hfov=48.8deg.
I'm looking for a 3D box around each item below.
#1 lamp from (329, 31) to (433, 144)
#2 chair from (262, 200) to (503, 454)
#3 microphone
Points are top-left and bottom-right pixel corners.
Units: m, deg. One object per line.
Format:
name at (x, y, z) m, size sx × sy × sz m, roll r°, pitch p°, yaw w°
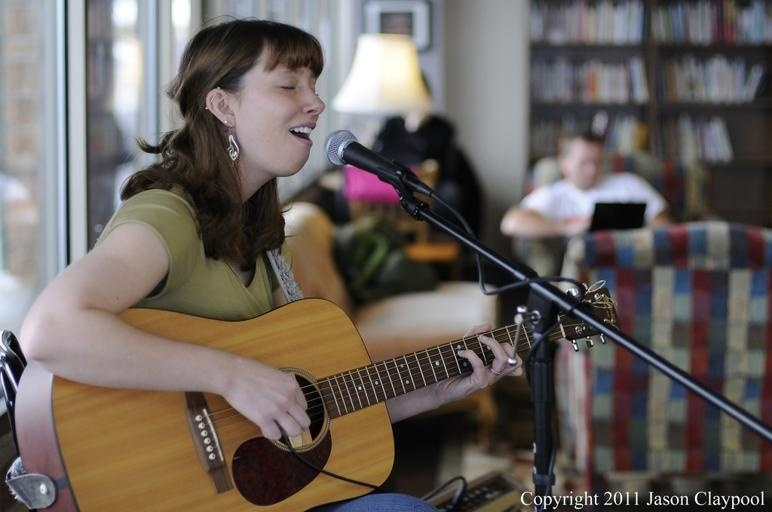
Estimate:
lamp at (-0.051, -0.872, 4.244) m, size 0.397 × 0.273 × 0.411 m, roll 9°, pitch 21°, yaw 9°
chair at (0.003, 0.355, 3.851) m, size 0.972 × 1.067 × 1.049 m, roll 1°, pitch 8°, yaw -2°
microphone at (-0.040, -0.264, 2.402) m, size 0.420 × 0.136 × 0.129 m, roll 25°, pitch 45°, yaw 34°
